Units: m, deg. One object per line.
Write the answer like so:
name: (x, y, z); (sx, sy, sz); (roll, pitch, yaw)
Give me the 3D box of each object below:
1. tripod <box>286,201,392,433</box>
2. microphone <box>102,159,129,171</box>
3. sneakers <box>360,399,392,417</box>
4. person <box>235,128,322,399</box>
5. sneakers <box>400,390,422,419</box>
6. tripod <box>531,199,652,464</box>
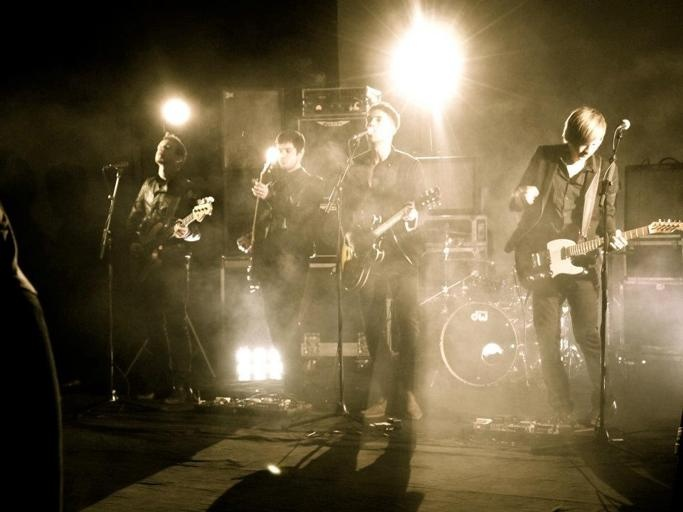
tripod: (-0.055, 0.371, 5.757); (0.740, 1.643, 0.427); (-1, 4, 13)
microphone: (-1.866, -0.744, 5.735); (0.189, 0.080, 0.188); (-11, 15, -23)
sneakers: (0.265, 1.210, 5.410); (0.205, 0.112, 0.207); (1, 20, 4)
person: (-0.454, 0.047, 5.849); (0.589, 2.188, 0.369); (0, 8, 3)
sneakers: (0.538, 1.158, 5.290); (0.128, 0.232, 0.088); (-18, 44, 1)
tripod: (2.057, 0.142, 5.261); (0.598, 2.254, 1.579); (3, 8, 24)
